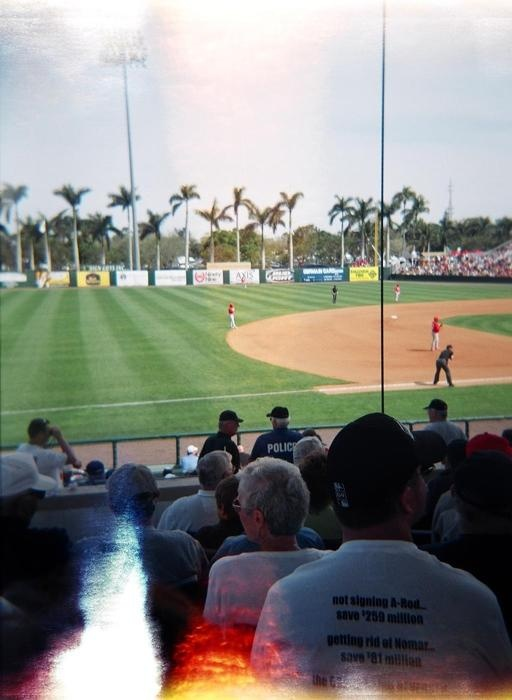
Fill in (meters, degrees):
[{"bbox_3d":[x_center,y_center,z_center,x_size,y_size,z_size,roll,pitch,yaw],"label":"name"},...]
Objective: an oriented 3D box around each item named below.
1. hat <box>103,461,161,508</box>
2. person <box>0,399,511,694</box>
[{"bbox_3d":[-0.421,0.431,2.605,0.111,0.145,0.162,2,21,2],"label":"hat"},{"bbox_3d":[0.057,0.432,1.672,0.978,0.585,0.467,3,8,22],"label":"person"}]
